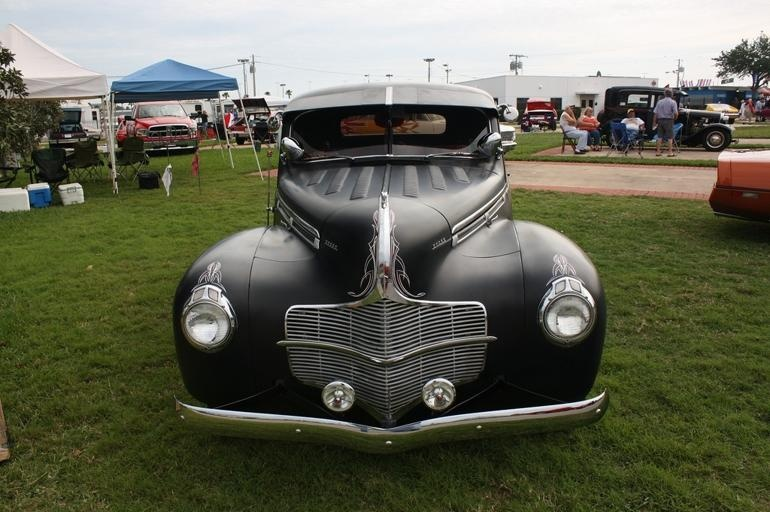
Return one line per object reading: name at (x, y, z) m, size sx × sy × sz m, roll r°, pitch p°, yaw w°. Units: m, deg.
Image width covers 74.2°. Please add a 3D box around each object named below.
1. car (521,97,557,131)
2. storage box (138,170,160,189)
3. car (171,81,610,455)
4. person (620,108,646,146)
car at (10.784, -9.435, 34.829) m, size 2.397 × 2.097 × 4.302 m, roll 4°, pitch 10°, yaw 24°
storage box at (-6.080, -1.967, 13.006) m, size 0.491 × 0.390 × 0.477 m, roll -8°, pitch 19°, yaw -25°
car at (0.103, -0.247, 5.508) m, size 2.495 × 1.999 × 4.179 m, roll -1°, pitch 8°, yaw 1°
person at (7.899, -4.296, 16.419) m, size 0.837 × 0.478 × 1.138 m, roll 11°, pitch 53°, yaw 29°
